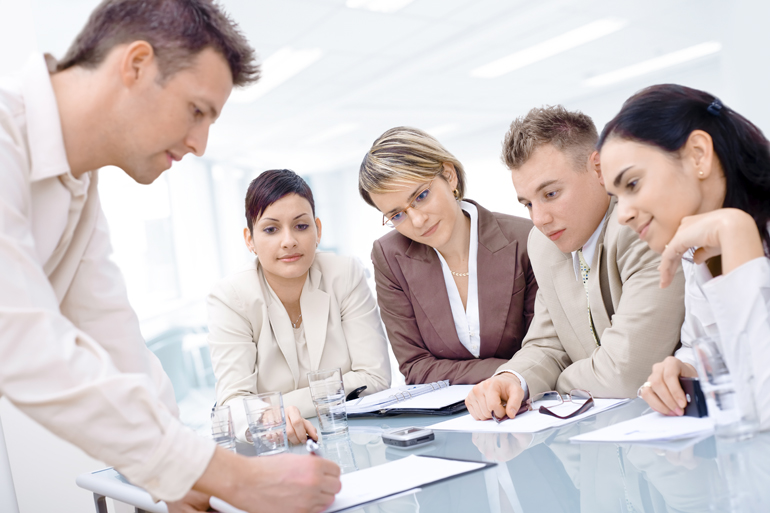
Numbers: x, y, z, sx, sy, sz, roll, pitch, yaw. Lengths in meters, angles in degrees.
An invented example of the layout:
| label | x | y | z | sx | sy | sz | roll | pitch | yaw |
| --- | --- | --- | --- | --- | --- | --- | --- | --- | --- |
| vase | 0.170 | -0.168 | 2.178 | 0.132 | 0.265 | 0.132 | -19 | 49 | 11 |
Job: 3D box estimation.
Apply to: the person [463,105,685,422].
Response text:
| label | x | y | z | sx | sy | sz | roll | pitch | yaw |
| --- | --- | --- | --- | --- | --- | --- | --- | --- | --- |
| person | 0.692 | 0.034 | 2.172 | 0.921 | 0.954 | 0.691 | -13 | -2 | -9 |

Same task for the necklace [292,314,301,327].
| label | x | y | z | sx | sy | sz | roll | pitch | yaw |
| --- | --- | --- | --- | --- | --- | --- | --- | --- | --- |
| necklace | -0.412 | 0.291 | 2.599 | 0.038 | 0.051 | 0.019 | -3 | -10 | -2 |

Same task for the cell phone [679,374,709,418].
| label | x | y | z | sx | sy | sz | roll | pitch | yaw |
| --- | --- | --- | --- | --- | --- | --- | --- | --- | --- |
| cell phone | 0.788 | 0.361 | 1.464 | 0.023 | 0.084 | 0.084 | -4 | 2 | -34 |
